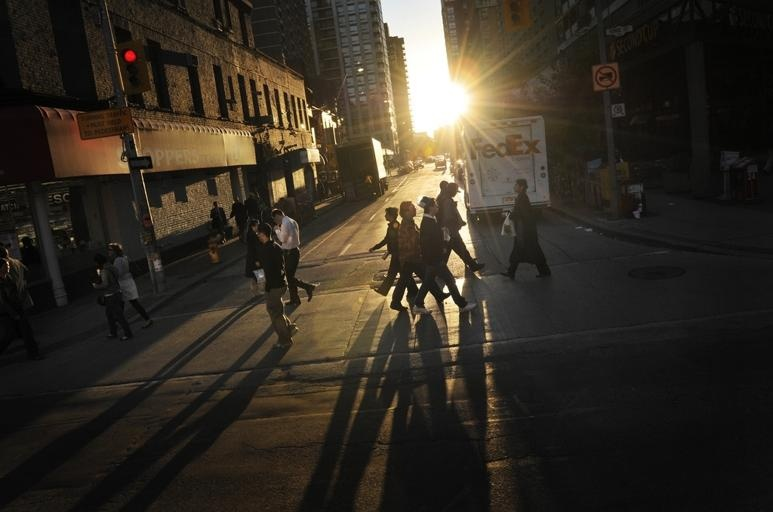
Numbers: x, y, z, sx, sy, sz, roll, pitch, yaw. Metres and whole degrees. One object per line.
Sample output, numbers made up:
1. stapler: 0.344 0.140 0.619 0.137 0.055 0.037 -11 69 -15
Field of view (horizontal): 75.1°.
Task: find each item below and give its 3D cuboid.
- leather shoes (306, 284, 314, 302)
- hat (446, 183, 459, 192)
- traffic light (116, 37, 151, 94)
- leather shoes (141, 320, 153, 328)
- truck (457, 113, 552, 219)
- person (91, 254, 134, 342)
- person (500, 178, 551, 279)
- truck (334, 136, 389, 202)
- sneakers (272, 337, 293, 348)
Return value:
1. leather shoes: -1.959 0.988 13.410 0.270 0.438 0.106 6 2 38
2. hat: 1.821 -1.876 13.815 0.240 0.213 0.264 4 8 18
3. traffic light: -7.453 -5.601 14.895 0.932 1.476 0.392 -3 11 16
4. leather shoes: -6.312 1.806 13.297 0.430 0.217 0.158 -2 1 5
5. truck: 4.868 -3.731 20.458 2.554 2.610 4.556 -5 16 9
6. person: -6.771 0.996 12.436 0.595 2.146 1.146 -13 13 -31
7. person: 3.583 -0.737 13.029 1.069 2.497 1.043 -3 12 18
8. truck: -2.046 -7.504 44.595 4.267 5.025 3.154 -12 13 -24
9. sneakers: -2.148 1.819 10.592 0.444 0.233 0.164 2 5 0
